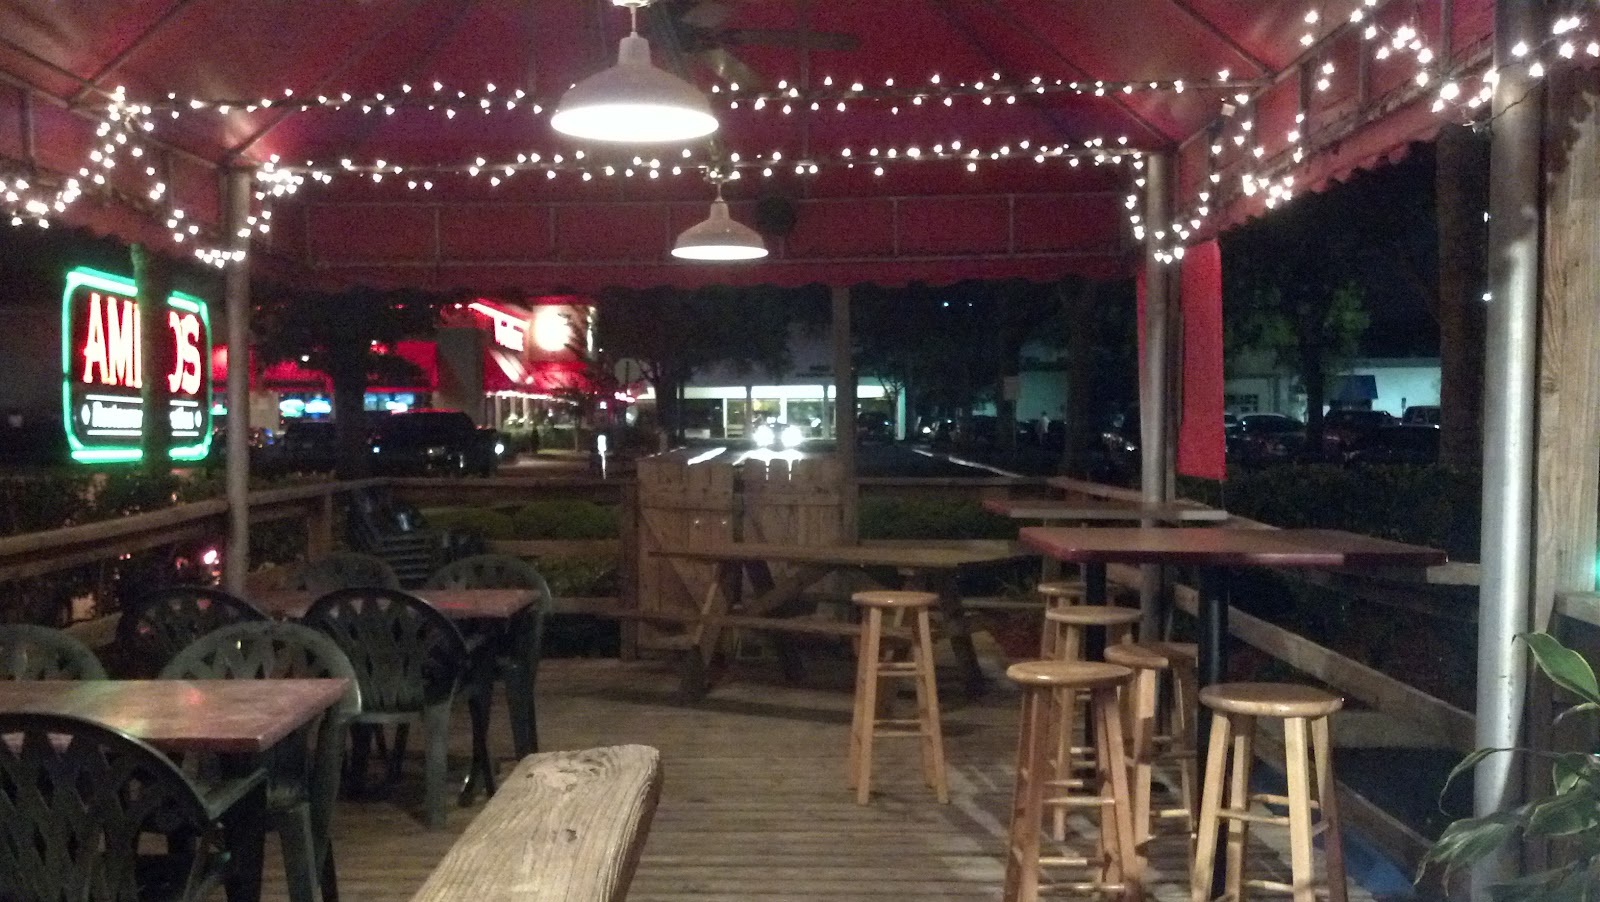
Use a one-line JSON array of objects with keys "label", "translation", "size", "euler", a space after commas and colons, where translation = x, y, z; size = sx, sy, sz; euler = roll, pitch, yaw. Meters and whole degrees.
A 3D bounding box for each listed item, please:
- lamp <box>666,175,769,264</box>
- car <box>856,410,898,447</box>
[{"label": "lamp", "translation": [-0.706, -1.995, 12.493], "size": [0.751, 0.908, 0.810], "euler": [0, -4, -3]}, {"label": "car", "translation": [2.876, -0.825, 54.350], "size": [1.157, 1.109, 2.125], "euler": [0, 8, 3]}]
